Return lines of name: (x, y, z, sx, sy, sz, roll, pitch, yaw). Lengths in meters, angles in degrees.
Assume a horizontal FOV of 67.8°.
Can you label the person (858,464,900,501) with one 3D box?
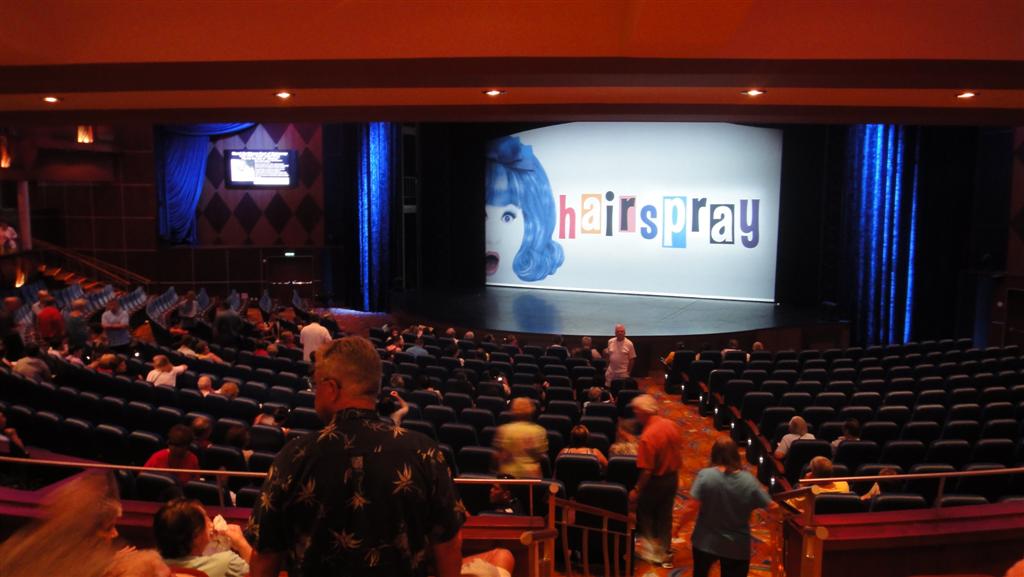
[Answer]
person: (3.899, 2.070, 8.049, 0.367, 0.318, 1.040, -1, -3, 28)
